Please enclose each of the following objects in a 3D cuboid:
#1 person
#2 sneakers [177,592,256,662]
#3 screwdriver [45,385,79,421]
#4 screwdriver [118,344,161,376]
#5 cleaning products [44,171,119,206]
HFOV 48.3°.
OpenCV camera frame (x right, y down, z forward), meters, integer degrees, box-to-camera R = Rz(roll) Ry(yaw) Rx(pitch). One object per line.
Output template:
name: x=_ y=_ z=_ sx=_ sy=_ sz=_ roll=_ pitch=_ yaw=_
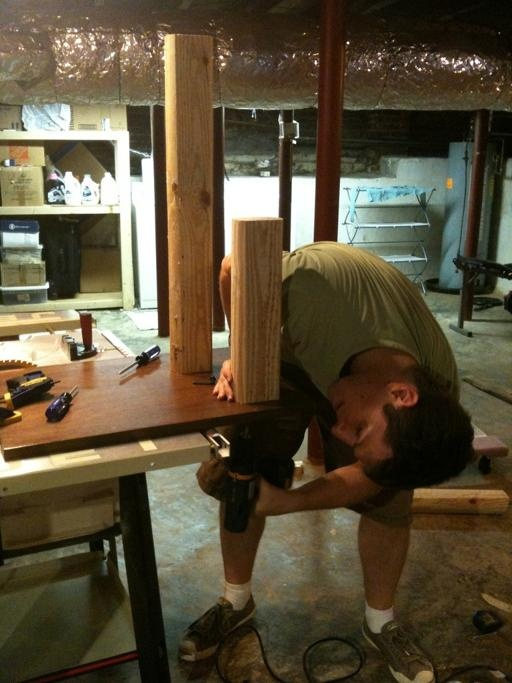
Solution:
person: x=0.168 y=0.355 z=1.495 sx=0.726 sy=1.212 sz=0.535 roll=5 pitch=15 yaw=19
sneakers: x=-0.120 y=0.838 z=1.731 sx=0.093 sy=0.097 sz=0.278 roll=11 pitch=16 yaw=42
screwdriver: x=-0.388 y=0.126 z=1.167 sx=0.030 sy=0.025 sz=0.109 roll=43 pitch=12 yaw=-7
screwdriver: x=-0.294 y=0.042 z=1.488 sx=0.035 sy=0.036 sz=0.156 roll=24 pitch=29 yaw=26
cleaning products: x=-1.782 y=-1.599 z=5.851 sx=0.712 sy=0.376 sz=0.459 roll=-4 pitch=13 yaw=-17
